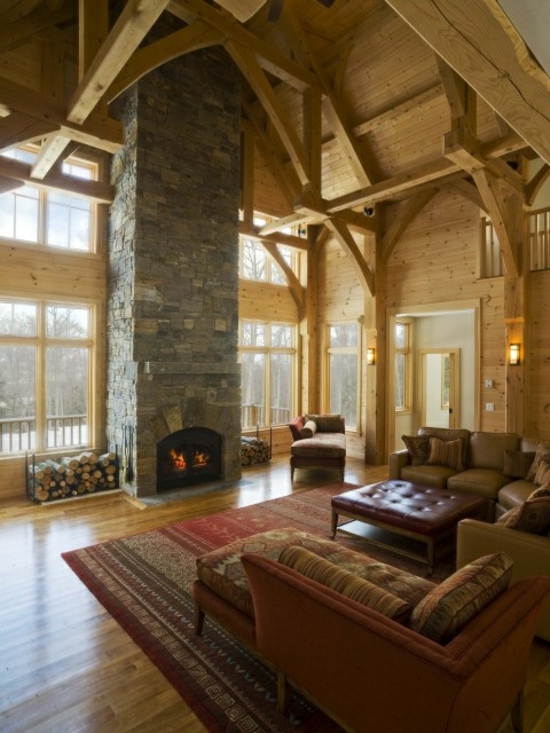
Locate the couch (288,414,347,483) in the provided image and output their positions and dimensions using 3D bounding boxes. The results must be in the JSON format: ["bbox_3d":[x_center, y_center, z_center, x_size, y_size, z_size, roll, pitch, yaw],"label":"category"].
[{"bbox_3d":[0.608,1.022,7.274,0.762,0.630,1.408,1,1,4],"label":"couch"}]

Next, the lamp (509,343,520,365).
[{"bbox_3d":[2.676,-0.134,6.073,0.120,0.241,0.053,3,5,36],"label":"lamp"}]

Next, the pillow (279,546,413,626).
[{"bbox_3d":[0.262,0.884,2.487,0.683,0.197,0.166,22,-13,18],"label":"pillow"}]

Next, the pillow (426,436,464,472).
[{"bbox_3d":[1.748,0.861,5.487,0.319,0.302,0.125,3,-26,23],"label":"pillow"}]

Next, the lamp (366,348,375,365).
[{"bbox_3d":[1.372,-0.136,7.720,0.057,0.236,0.148,-2,4,-31],"label":"lamp"}]

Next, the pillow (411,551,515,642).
[{"bbox_3d":[0.885,0.941,2.306,0.452,0.287,0.162,-27,12,-21],"label":"pillow"}]
